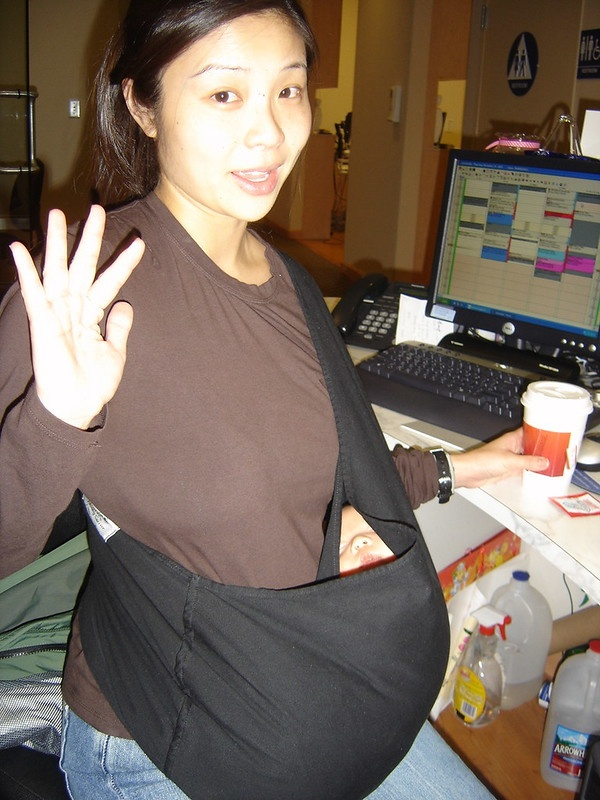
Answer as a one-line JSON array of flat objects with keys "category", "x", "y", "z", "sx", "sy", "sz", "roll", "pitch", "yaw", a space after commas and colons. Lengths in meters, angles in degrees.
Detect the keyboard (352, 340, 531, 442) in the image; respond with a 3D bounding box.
[{"category": "keyboard", "x": 0.289, "y": -0.028, "z": 1.181, "sx": 0.189, "sy": 0.057, "sz": 0.261, "roll": -38, "pitch": 36, "yaw": -29}]
